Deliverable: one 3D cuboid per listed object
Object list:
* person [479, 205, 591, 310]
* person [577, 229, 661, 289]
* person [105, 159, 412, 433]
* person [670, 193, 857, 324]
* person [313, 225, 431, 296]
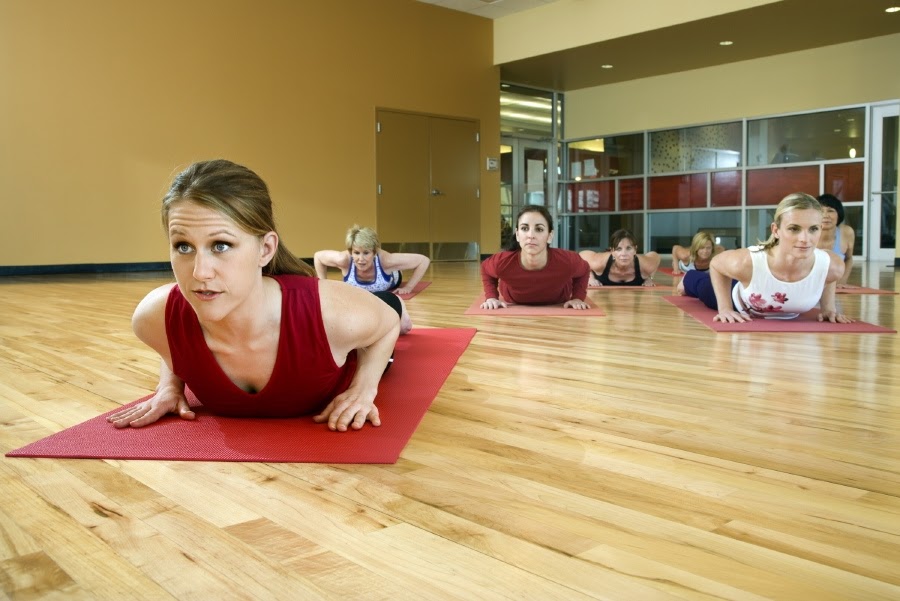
[{"bbox_3d":[0.592,-0.310,4.224,0.638,0.702,0.537,-8,13,-39],"label":"person"},{"bbox_3d":[1.669,-0.378,6.102,0.776,0.521,0.857,3,4,42],"label":"person"},{"bbox_3d":[-0.599,0.006,1.915,0.938,0.688,0.695,-1,5,2],"label":"person"},{"bbox_3d":[1.841,-0.202,3.610,0.569,0.525,0.961,0,-4,-2],"label":"person"},{"bbox_3d":[-0.612,-0.413,4.965,0.816,0.672,1.102,1,25,4],"label":"person"}]
